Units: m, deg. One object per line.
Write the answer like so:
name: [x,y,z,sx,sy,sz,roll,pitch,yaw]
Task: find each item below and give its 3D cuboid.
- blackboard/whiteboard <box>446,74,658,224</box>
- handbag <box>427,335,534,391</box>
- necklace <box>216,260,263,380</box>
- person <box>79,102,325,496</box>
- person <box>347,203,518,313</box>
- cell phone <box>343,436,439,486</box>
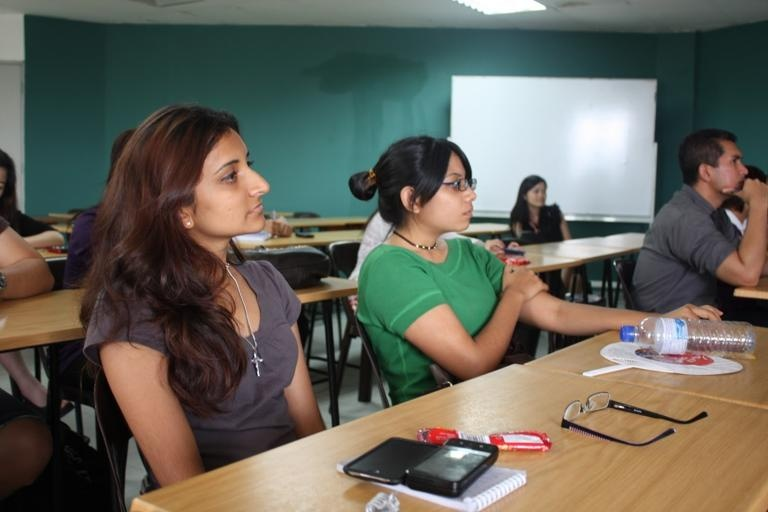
blackboard/whiteboard: [2.266,-1.415,6.864,2.545,1.673,0.203,1,5,7]
handbag: [0.280,0.334,1.653,0.210,0.141,0.065,-28,31,-6]
necklace: [-0.379,0.175,1.440,0.092,0.330,0.019,1,-23,-39]
person: [-0.517,0.168,1.543,0.491,0.984,0.738,-6,-1,24]
person: [0.269,-0.016,3.343,0.783,1.096,0.593,3,5,32]
cell phone: [0.012,0.365,0.994,0.074,0.014,0.111,5,8,28]
